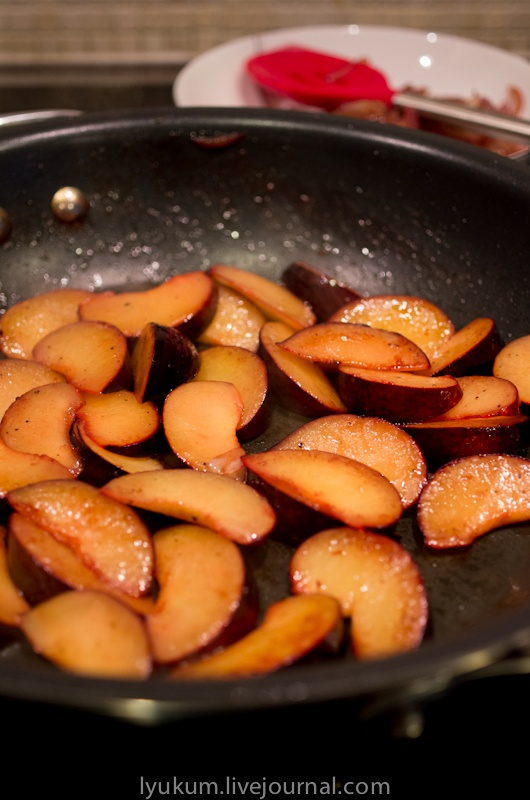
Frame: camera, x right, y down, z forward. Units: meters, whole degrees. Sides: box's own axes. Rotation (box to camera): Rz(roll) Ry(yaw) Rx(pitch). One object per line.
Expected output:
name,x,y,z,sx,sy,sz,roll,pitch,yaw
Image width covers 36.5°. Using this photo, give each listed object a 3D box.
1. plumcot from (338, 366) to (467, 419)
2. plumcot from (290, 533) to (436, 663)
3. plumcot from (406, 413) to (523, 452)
plumcot,0.117,-0.013,0.704,0.064,0.024,0.065,0,8,42
plumcot,0.072,0.133,0.571,0.077,0.029,0.110,-23,48,-27
plumcot,0.172,0.031,0.683,0.057,0.015,0.046,-20,4,2
